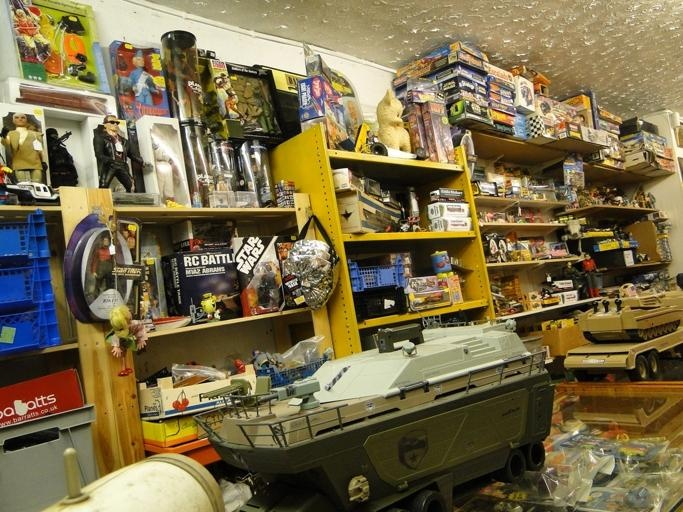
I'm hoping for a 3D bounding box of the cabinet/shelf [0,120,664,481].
[{"bbox_3d":[-0.051,0.200,2.490,2.805,1.546,0.801,-9,2,-19],"label":"cabinet/shelf"}]

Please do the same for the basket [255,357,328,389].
[{"bbox_3d":[-0.222,0.523,2.279,0.281,0.052,0.150,-7,-6,-41],"label":"basket"}]

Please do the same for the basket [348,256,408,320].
[{"bbox_3d":[0.232,0.183,2.912,0.308,0.358,0.125,-9,10,-27],"label":"basket"}]
